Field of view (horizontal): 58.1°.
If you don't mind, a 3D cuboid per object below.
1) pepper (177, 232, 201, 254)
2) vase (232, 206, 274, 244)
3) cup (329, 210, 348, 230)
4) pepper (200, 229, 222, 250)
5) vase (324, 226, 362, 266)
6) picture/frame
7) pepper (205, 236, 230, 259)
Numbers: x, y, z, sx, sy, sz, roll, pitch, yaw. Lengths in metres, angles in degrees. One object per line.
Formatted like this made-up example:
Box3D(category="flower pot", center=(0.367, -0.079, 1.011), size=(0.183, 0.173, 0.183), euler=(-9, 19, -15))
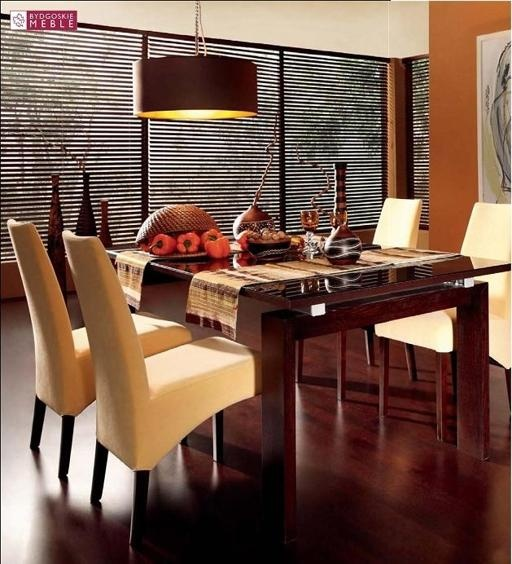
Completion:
Box3D(category="pepper", center=(-0.299, -0.172, 2.061), size=(0.078, 0.099, 0.088), euler=(-18, 11, 4))
Box3D(category="vase", center=(-0.014, -0.265, 2.322), size=(0.155, 0.193, 0.166), euler=(0, -2, 36))
Box3D(category="cup", center=(0.320, -0.245, 1.784), size=(0.056, 0.089, 0.069), euler=(-5, 7, -42))
Box3D(category="pepper", center=(-0.211, -0.207, 2.101), size=(0.068, 0.093, 0.076), euler=(-10, 13, -24))
Box3D(category="vase", center=(0.339, -0.179, 1.800), size=(0.111, 0.196, 0.132), euler=(1, 33, 19))
Box3D(category="picture/frame", center=(2.096, -1.445, 4.024), size=(0.173, 1.467, 0.398), euler=(-2, 8, -12))
Box3D(category="pepper", center=(-0.169, -0.152, 2.091), size=(0.077, 0.118, 0.095), euler=(-8, 1, -7))
